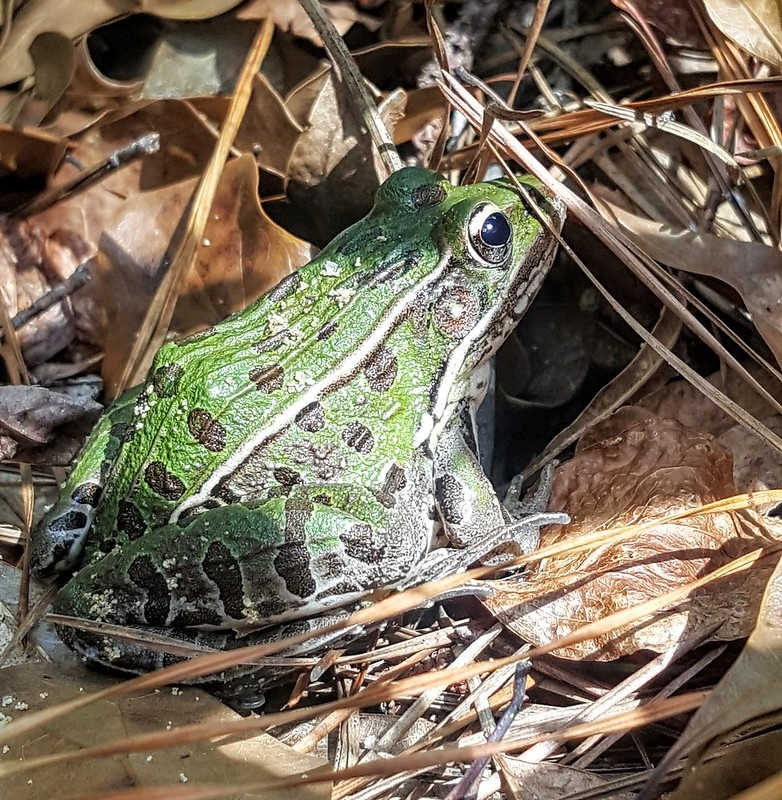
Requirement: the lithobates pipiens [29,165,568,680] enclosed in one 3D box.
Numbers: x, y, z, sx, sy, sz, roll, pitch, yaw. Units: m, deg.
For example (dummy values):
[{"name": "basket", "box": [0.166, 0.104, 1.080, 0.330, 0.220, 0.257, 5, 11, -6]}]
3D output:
[{"name": "lithobates pipiens", "box": [-0.215, 0.039, 2.373, 1.320, 0.930, 0.846, -14, 51, -27]}]
